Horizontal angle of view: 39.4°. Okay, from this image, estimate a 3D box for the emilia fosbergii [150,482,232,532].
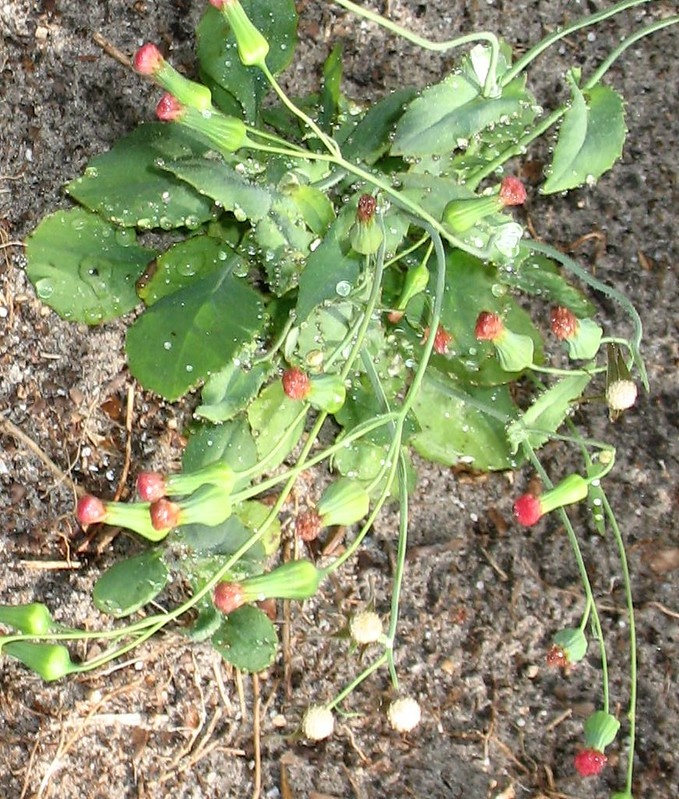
[{"bbox_3d":[-0.143,0.104,0.913,0.072,0.037,0.035,-14,82,-30],"label":"emilia fosbergii"}]

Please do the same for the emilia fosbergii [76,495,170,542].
[{"bbox_3d":[-0.205,0.122,0.931,0.098,0.032,0.055,9,62,-32],"label":"emilia fosbergii"}]

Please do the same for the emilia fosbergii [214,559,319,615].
[{"bbox_3d":[-0.074,0.191,0.965,0.102,0.049,0.048,-13,78,-10],"label":"emilia fosbergii"}]

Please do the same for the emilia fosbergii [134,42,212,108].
[{"bbox_3d":[-0.165,-0.306,0.945,0.083,0.066,0.035,36,67,10],"label":"emilia fosbergii"}]

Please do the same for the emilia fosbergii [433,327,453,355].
[{"bbox_3d":[0.119,-0.069,1.115,0.023,0.012,0.034,-3,96,-42],"label":"emilia fosbergii"}]

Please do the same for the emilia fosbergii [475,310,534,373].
[{"bbox_3d":[0.177,-0.058,1.051,0.048,0.032,0.073,-42,89,2],"label":"emilia fosbergii"}]

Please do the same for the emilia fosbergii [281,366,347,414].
[{"bbox_3d":[-0.026,-0.010,0.939,0.057,0.028,0.040,13,82,-32],"label":"emilia fosbergii"}]

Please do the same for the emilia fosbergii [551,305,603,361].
[{"bbox_3d":[0.282,-0.082,1.118,0.062,0.039,0.036,35,44,-37],"label":"emilia fosbergii"}]

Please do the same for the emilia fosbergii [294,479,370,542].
[{"bbox_3d":[-0.006,0.114,1.002,0.082,0.029,0.052,-32,82,-1],"label":"emilia fosbergii"}]
